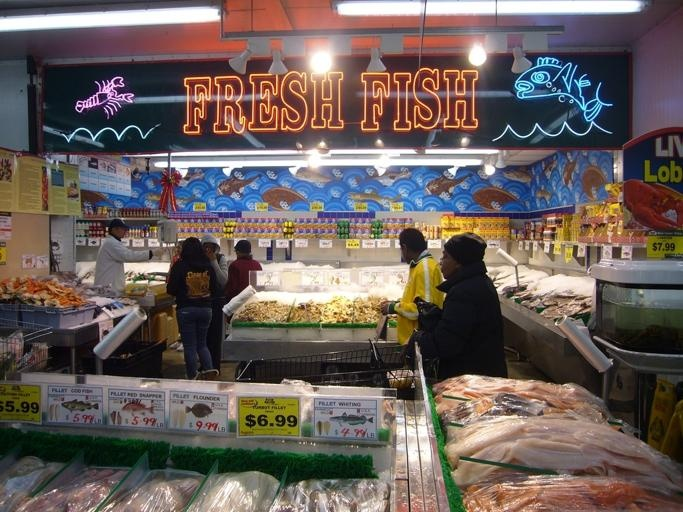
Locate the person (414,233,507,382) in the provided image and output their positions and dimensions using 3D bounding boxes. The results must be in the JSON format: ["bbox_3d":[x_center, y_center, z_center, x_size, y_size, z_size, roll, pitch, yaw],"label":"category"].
[{"bbox_3d":[0.776,0.365,3.658,0.632,1.036,0.334,-2,2,-17],"label":"person"}]

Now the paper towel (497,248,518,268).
[{"bbox_3d":[2.289,0.030,7.284,0.086,0.173,0.405,-33,-42,25],"label":"paper towel"}]

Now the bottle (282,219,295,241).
[{"bbox_3d":[-0.854,-0.428,8.440,0.252,0.385,0.254,3,-2,0],"label":"bottle"}]

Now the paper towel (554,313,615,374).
[{"bbox_3d":[1.239,0.456,2.744,0.255,0.300,0.212,-1,2,12],"label":"paper towel"}]

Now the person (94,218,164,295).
[{"bbox_3d":[-2.718,0.157,6.671,0.690,1.215,0.493,12,20,-8],"label":"person"}]

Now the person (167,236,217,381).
[{"bbox_3d":[-1.653,0.573,5.855,0.454,1.554,0.529,-1,2,7],"label":"person"}]

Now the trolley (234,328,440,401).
[{"bbox_3d":[-0.015,0.722,3.363,1.074,0.421,0.586,7,-2,0],"label":"trolley"}]

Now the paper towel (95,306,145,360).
[{"bbox_3d":[-1.174,0.399,2.827,0.250,0.276,0.281,-2,2,-7],"label":"paper towel"}]

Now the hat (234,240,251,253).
[{"bbox_3d":[-1.262,-0.104,6.694,0.148,0.144,0.171,22,-2,-17],"label":"hat"}]

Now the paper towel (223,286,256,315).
[{"bbox_3d":[-0.964,0.428,4.992,0.250,0.255,0.397,-2,2,-4],"label":"paper towel"}]
